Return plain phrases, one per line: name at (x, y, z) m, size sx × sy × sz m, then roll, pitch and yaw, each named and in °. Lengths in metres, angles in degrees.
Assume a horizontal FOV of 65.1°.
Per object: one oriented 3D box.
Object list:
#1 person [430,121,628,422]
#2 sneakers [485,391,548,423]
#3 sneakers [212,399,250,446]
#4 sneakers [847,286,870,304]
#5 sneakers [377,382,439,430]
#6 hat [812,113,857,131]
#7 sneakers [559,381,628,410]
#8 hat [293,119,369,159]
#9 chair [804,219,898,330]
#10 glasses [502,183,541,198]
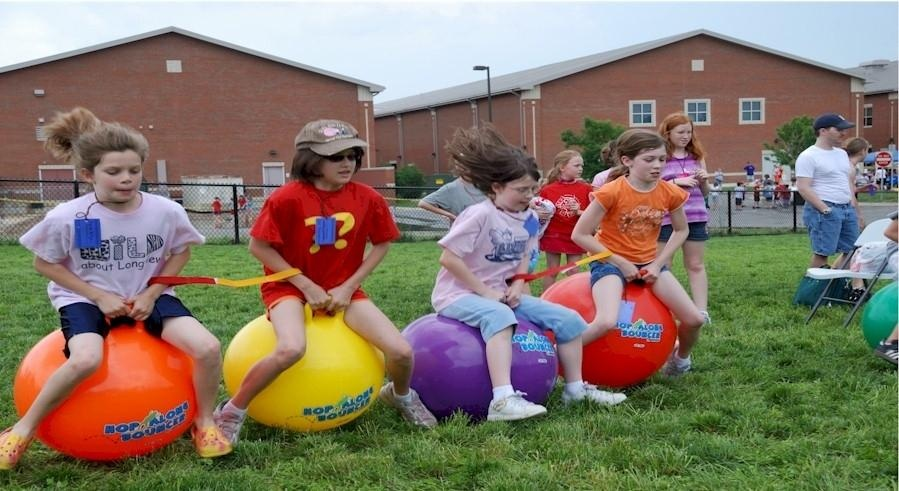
person at (0.553, 0.200, 6.652) m, size 1.087 × 2.618 × 1.338 m, roll -9°, pitch 14°, yaw -44°
sneakers at (0.573, 1.445, 6.262) m, size 0.587 × 0.247 × 0.220 m, roll -1°, pitch -1°, yaw 1°
sneakers at (-1.924, 1.544, 6.193) m, size 0.188 × 0.479 × 0.213 m, roll -12°, pitch -18°, yaw -19°
sneakers at (5.190, 0.634, 8.961) m, size 0.226 × 0.172 × 0.469 m, roll 0°, pitch -1°, yaw 32°
sneakers at (-0.446, 1.450, 6.504) m, size 0.711 × 0.227 × 0.296 m, roll 35°, pitch -26°, yaw -5°
hat at (4.987, -1.591, 9.173) m, size 0.585 × 0.199 × 0.361 m, roll 1°, pitch 6°, yaw 22°
sneakers at (1.331, 1.401, 6.708) m, size 0.705 × 0.234 × 0.221 m, roll -4°, pitch 3°, yaw -6°
hat at (-1.072, -0.947, 6.285) m, size 0.556 × 0.179 × 0.375 m, roll 2°, pitch 5°, yaw 34°
chair at (4.987, 0.245, 8.676) m, size 0.896 × 1.330 × 1.209 m, roll 6°, pitch 11°, yaw 28°
glasses at (0.636, -0.502, 6.608) m, size 0.192 × 0.056 × 0.185 m, roll 0°, pitch -9°, yaw -24°
